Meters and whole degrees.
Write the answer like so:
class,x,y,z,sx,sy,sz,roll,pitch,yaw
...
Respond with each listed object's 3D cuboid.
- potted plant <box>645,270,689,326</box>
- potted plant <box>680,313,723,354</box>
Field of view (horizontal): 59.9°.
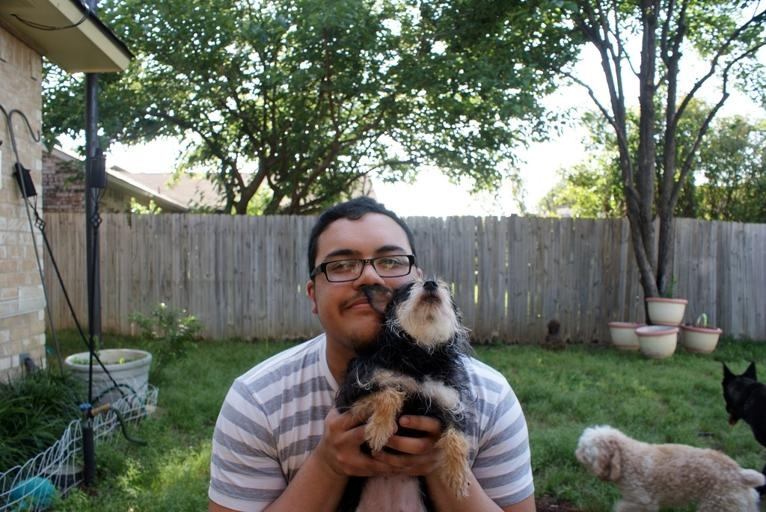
class,x,y,z,sx,sy,sz,roll,pitch,yaw
potted plant,5.978,1.063,13.978,0.640,0.851,0.682,4,-9,1
potted plant,6.638,1.597,13.899,0.761,0.892,0.799,6,-2,-16
